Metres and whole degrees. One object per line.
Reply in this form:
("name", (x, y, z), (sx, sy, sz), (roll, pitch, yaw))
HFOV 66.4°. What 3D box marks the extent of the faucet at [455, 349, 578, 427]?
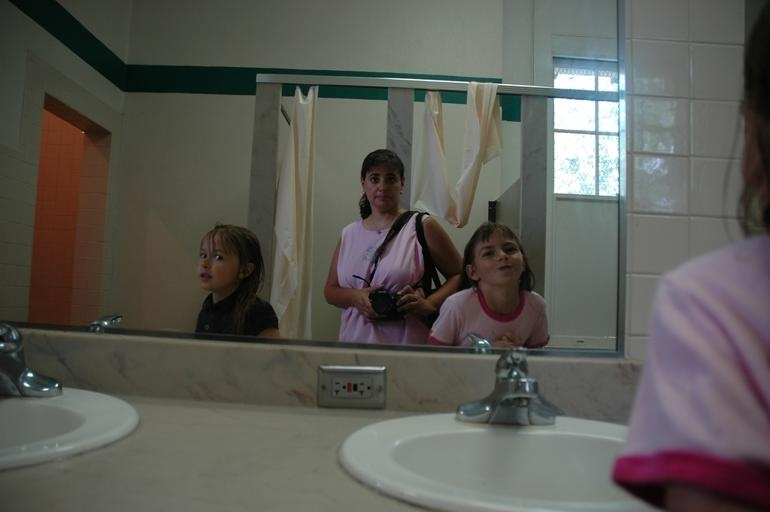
("faucet", (0.262, 0.267, 1.209), (0.217, 0.162, 0.140), (5, -5, -5))
